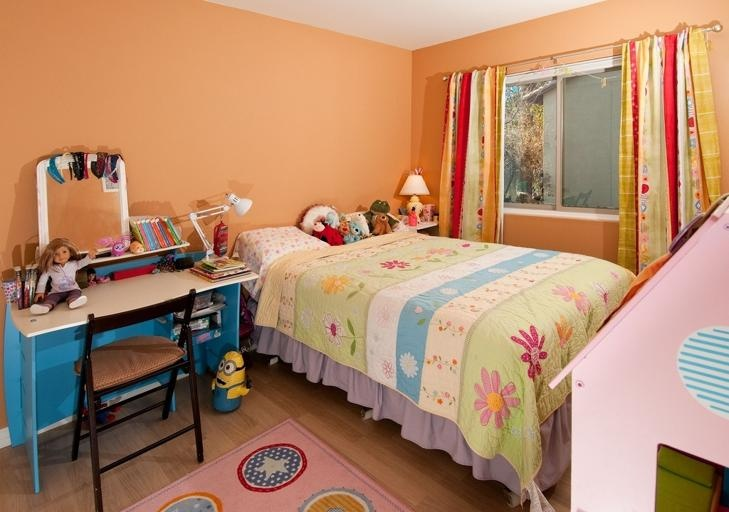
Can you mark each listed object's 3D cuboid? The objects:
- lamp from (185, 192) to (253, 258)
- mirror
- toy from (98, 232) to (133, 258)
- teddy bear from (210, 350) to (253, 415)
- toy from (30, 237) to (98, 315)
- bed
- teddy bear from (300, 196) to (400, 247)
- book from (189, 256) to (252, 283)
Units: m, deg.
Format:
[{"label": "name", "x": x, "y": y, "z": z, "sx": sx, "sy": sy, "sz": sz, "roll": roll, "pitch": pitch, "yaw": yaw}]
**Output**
[{"label": "lamp", "x": -1.134, "y": -0.246, "z": 3.758, "sx": 0.446, "sy": 0.471, "sz": 0.634, "roll": -10, "pitch": 14, "yaw": -20}, {"label": "mirror", "x": -1.890, "y": -0.330, "z": 3.183, "sx": 0.604, "sy": 0.868, "sz": 0.084, "roll": -10, "pitch": 14, "yaw": -41}, {"label": "toy", "x": -1.707, "y": -0.062, "z": 3.236, "sx": 0.176, "sy": 0.068, "sz": 0.162, "roll": 7, "pitch": 16, "yaw": 25}, {"label": "teddy bear", "x": -0.928, "y": 0.852, "z": 3.313, "sx": 0.291, "sy": 0.380, "sz": 0.200, "roll": 14, "pitch": 10, "yaw": 24}, {"label": "toy", "x": -1.784, "y": 0.103, "z": 2.861, "sx": 0.294, "sy": 0.424, "sz": 0.392, "roll": -4, "pitch": 6, "yaw": -19}, {"label": "bed", "x": 0.276, "y": 0.445, "z": 3.269, "sx": 2.043, "sy": 0.783, "sz": 1.466, "roll": 11, "pitch": 18, "yaw": 40}, {"label": "teddy bear", "x": -0.154, "y": -0.316, "z": 4.614, "sx": 0.489, "sy": 0.325, "sz": 0.717, "roll": 1, "pitch": 6, "yaw": 42}, {"label": "book", "x": -1.054, "y": 0.083, "z": 3.398, "sx": 0.219, "sy": 0.057, "sz": 0.234, "roll": 12, "pitch": 16, "yaw": 40}]
